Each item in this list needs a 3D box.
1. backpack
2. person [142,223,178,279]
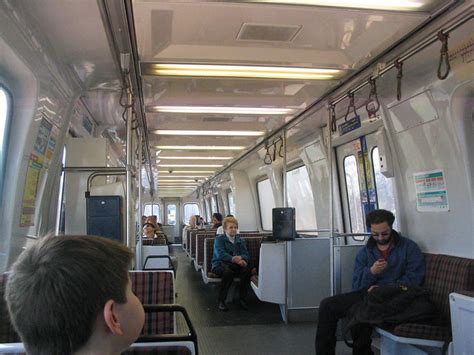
[{"bbox_3d":[1.815,1.466,3.353,0.972,0.345,0.773,-4,-5,-11],"label":"backpack"},{"bbox_3d":[-1.744,1.655,6.554,1.427,0.782,0.541,-10,-9,44],"label":"person"}]
